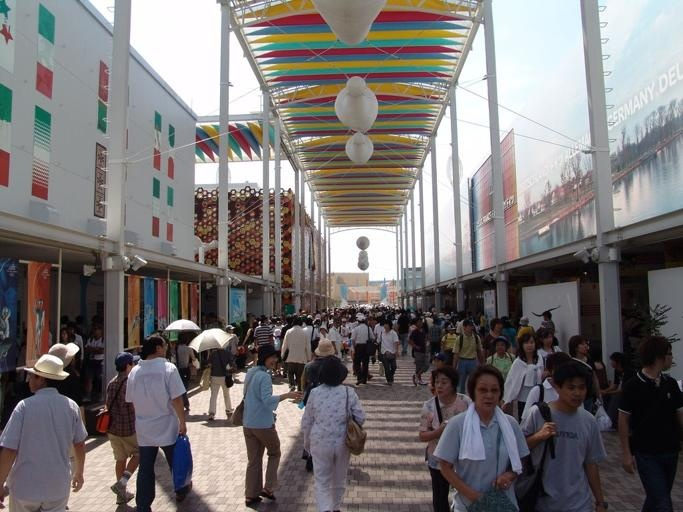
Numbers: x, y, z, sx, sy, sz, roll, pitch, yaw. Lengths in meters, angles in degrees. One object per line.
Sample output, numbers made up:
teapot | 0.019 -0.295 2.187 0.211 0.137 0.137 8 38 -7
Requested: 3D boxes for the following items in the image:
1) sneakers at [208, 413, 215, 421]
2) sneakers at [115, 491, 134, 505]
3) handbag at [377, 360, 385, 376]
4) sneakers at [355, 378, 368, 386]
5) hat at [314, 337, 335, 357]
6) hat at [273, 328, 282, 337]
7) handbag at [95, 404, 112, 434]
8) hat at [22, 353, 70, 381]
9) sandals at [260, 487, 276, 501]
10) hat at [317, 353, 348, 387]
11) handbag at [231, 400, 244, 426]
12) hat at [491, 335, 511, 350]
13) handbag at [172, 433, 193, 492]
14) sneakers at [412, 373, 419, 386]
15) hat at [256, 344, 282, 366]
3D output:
sneakers | -2.629 3.232 10.357 0.097 0.119 0.112 1 -3 -6
sneakers | -2.739 3.012 6.484 0.099 0.135 0.296 20 -23 29
handbag | 1.254 3.473 15.764 0.178 0.650 0.400 0 6 -4
sneakers | 0.552 3.499 14.309 0.323 0.273 0.115 1 -11 38
hat | -0.215 1.228 7.035 0.217 0.167 0.279 -6 16 -4
hat | -1.750 2.073 13.983 0.190 0.281 0.287 -6 -16 -2
handbag | -3.048 2.079 6.563 0.151 0.316 0.301 4 -12 -30
hat | -2.875 1.080 5.018 0.313 0.243 0.413 5 -13 -33
sandals | -0.921 2.984 6.460 0.227 0.097 0.088 6 1 -39
hat | -0.100 1.307 5.892 0.307 0.337 0.402 0 -10 -9
handbag | -1.308 1.969 6.483 0.137 0.315 0.361 0 -10 -12
hat | 2.447 1.287 7.802 0.159 0.206 0.227 -2 -28 14
handbag | -1.902 2.417 6.053 0.209 0.650 0.324 -1 -9 -4
sneakers | 2.063 3.376 14.067 0.104 0.316 0.147 -4 2 -20
hat | -0.919 1.229 6.428 0.255 0.268 0.285 0 -10 -12
